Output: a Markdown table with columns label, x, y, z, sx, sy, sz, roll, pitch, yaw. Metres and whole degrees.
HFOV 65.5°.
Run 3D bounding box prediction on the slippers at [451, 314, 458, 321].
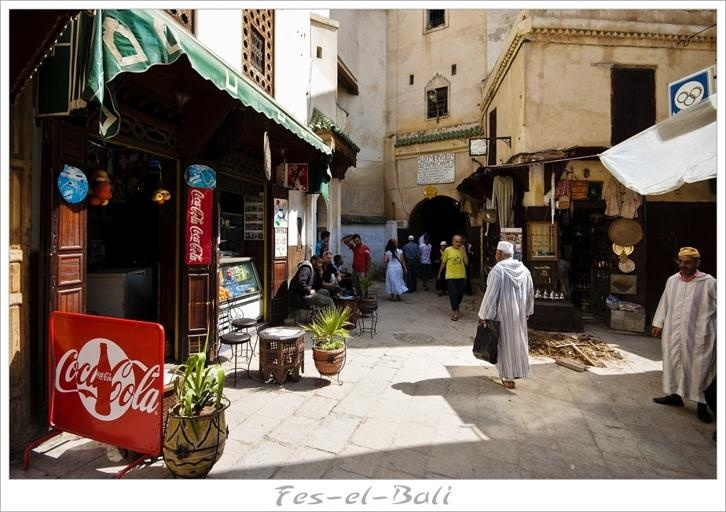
| label | x | y | z | sx | sy | sz | roll | pitch | yaw |
| --- | --- | --- | --- | --- | --- | --- | --- | --- | --- |
| slippers | 1.999 | 1.344 | 12.291 | 0.068 | 0.135 | 0.189 | 0 | -10 | 11 |

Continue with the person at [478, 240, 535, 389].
| label | x | y | z | sx | sy | sz | roll | pitch | yaw |
| --- | --- | --- | --- | --- | --- | --- | --- | --- | --- |
| person | 2.171 | 0.879 | 8.525 | 0.749 | 2.177 | 0.517 | -1 | 2 | 18 |

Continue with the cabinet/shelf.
| label | x | y | z | sx | sy | sz | roll | pitch | yaw |
| --- | --- | --- | --- | --- | --- | --- | --- | --- | --- |
| cabinet/shelf | -2.471 | 0.734 | 10.430 | 0.503 | 1.514 | 1.506 | -4 | 2 | 18 |

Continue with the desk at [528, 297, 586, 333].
| label | x | y | z | sx | sy | sz | roll | pitch | yaw |
| --- | --- | --- | --- | --- | --- | --- | --- | --- | --- |
| desk | 3.604 | 1.183 | 11.146 | 1.437 | 0.567 | 1.456 | 9 | -9 | -38 |

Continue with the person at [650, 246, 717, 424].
| label | x | y | z | sx | sy | sz | roll | pitch | yaw |
| --- | --- | --- | --- | --- | --- | --- | --- | --- | --- |
| person | 4.487 | 1.071 | 7.838 | 0.726 | 2.321 | 0.481 | 0 | 3 | 32 |

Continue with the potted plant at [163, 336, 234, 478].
| label | x | y | z | sx | sy | sz | roll | pitch | yaw |
| --- | --- | --- | --- | --- | --- | --- | --- | --- | --- |
| potted plant | -1.947 | 1.813 | 6.536 | 0.759 | 1.440 | 0.466 | -3 | 2 | -23 |

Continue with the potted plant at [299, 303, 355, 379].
| label | x | y | z | sx | sy | sz | roll | pitch | yaw |
| --- | --- | --- | --- | --- | --- | --- | --- | --- | --- |
| potted plant | -0.479 | 1.288 | 8.519 | 0.693 | 1.071 | 0.698 | -4 | -11 | 25 |

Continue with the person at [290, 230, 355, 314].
| label | x | y | z | sx | sy | sz | roll | pitch | yaw |
| --- | --- | --- | --- | --- | --- | --- | --- | --- | --- |
| person | -0.884 | 0.403 | 11.595 | 1.178 | 2.049 | 0.893 | -5 | 21 | -12 |

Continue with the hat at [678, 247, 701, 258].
| label | x | y | z | sx | sy | sz | roll | pitch | yaw |
| --- | --- | --- | --- | --- | --- | --- | --- | --- | --- |
| hat | 4.993 | -0.059 | 8.643 | 0.274 | 0.144 | 0.204 | 4 | -5 | -31 |

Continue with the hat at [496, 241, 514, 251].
| label | x | y | z | sx | sy | sz | roll | pitch | yaw |
| --- | --- | --- | --- | --- | --- | --- | --- | --- | --- |
| hat | 2.175 | -0.139 | 8.677 | 0.163 | 0.147 | 0.222 | 3 | 14 | -16 |

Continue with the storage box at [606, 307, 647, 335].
| label | x | y | z | sx | sy | sz | roll | pitch | yaw |
| --- | --- | --- | --- | --- | --- | --- | --- | --- | --- |
| storage box | 5.339 | 1.364 | 11.324 | 0.727 | 0.585 | 0.408 | -3 | -8 | 38 |
